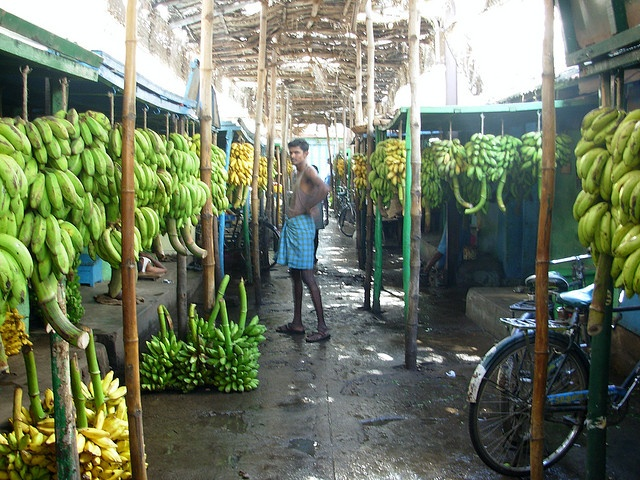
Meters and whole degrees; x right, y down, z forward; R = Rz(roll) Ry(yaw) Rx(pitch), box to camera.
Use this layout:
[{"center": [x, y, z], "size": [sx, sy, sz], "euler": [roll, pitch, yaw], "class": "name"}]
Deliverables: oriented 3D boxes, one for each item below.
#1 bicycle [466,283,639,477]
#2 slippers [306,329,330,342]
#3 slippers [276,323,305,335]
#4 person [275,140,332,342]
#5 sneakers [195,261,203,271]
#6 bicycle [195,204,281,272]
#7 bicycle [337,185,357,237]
[{"center": [1.662, 1.021, 3.935], "size": [1.452, 1.266, 1.016], "euler": [-5, 9, -34], "class": "bicycle"}, {"center": [-0.021, 1.110, 6.238], "size": [0.259, 0.122, 0.112], "euler": [-1, 4, -21], "class": "slippers"}, {"center": [-0.370, 1.096, 6.458], "size": [0.269, 0.130, 0.153], "euler": [3, 1, 1], "class": "slippers"}, {"center": [-0.202, 0.003, 6.260], "size": [0.621, 2.343, 0.691], "euler": [-1, 7, -6], "class": "person"}, {"center": [-2.156, 0.473, 9.375], "size": [0.106, 0.141, 0.656], "euler": [-2, 9, -18], "class": "sneakers"}, {"center": [-1.415, -0.023, 10.419], "size": [1.877, 1.461, 1.067], "euler": [2, 9, 7], "class": "bicycle"}, {"center": [0.854, -0.791, 16.738], "size": [0.606, 0.940, 1.398], "euler": [-1, 5, -7], "class": "bicycle"}]
